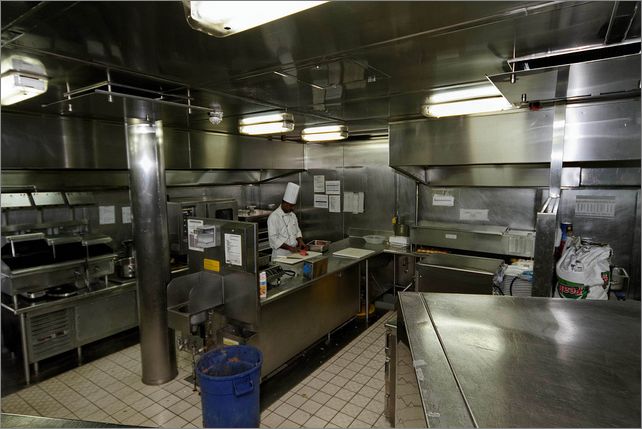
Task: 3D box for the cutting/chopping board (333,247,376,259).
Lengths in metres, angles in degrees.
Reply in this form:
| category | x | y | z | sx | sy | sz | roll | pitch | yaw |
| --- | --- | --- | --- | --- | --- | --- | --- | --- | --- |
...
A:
| category | x | y | z | sx | sy | sz | roll | pitch | yaw |
| --- | --- | --- | --- | --- | --- | --- | --- | --- | --- |
| cutting/chopping board | 0.469 | 0.519 | 5.768 | 0.483 | 0.064 | 0.541 | 1 | 5 | 32 |

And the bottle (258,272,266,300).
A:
| category | x | y | z | sx | sy | sz | roll | pitch | yaw |
| --- | --- | --- | --- | --- | --- | --- | --- | --- | --- |
| bottle | -0.577 | 0.704 | 4.227 | 0.048 | 0.268 | 0.143 | -1 | 6 | 4 |

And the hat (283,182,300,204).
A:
| category | x | y | z | sx | sy | sz | roll | pitch | yaw |
| --- | --- | --- | --- | --- | --- | --- | --- | --- | --- |
| hat | -0.438 | -0.299 | 6.108 | 0.207 | 0.310 | 0.324 | -2 | 5 | -5 |

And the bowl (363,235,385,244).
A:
| category | x | y | z | sx | sy | sz | roll | pitch | yaw |
| --- | --- | --- | --- | --- | --- | --- | --- | --- | --- |
| bowl | 0.837 | 0.376 | 6.493 | 0.310 | 0.081 | 0.388 | 0 | 5 | 15 |

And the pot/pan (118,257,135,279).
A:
| category | x | y | z | sx | sy | sz | roll | pitch | yaw |
| --- | --- | --- | --- | --- | --- | --- | --- | --- | --- |
| pot/pan | -2.447 | 0.668 | 5.311 | 0.175 | 0.238 | 0.214 | -6 | 6 | -35 |

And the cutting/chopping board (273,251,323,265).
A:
| category | x | y | z | sx | sy | sz | roll | pitch | yaw |
| --- | --- | --- | --- | --- | --- | --- | --- | --- | --- |
| cutting/chopping board | -0.294 | 0.549 | 5.454 | 0.528 | 0.064 | 0.725 | 1 | 5 | 31 |

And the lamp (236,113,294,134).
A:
| category | x | y | z | sx | sy | sz | roll | pitch | yaw |
| --- | --- | --- | --- | --- | --- | --- | --- | --- | --- |
| lamp | -0.610 | -0.986 | 4.577 | 0.427 | 0.178 | 0.747 | -4 | 5 | -24 |

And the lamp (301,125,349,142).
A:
| category | x | y | z | sx | sy | sz | roll | pitch | yaw |
| --- | --- | --- | --- | --- | --- | --- | --- | --- | --- |
| lamp | 0.058 | -0.988 | 5.107 | 0.369 | 0.079 | 0.181 | -1 | -21 | 11 |
